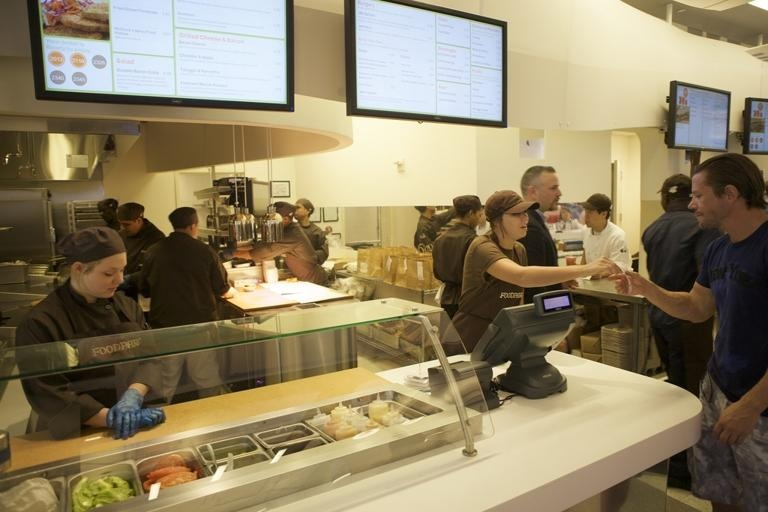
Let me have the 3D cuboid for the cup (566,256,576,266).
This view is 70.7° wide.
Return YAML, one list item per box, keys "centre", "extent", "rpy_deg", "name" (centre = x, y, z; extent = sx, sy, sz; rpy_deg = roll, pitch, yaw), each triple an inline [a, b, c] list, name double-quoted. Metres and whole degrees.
- centre: [2.012, 0.060, 5.878]
  extent: [0.078, 0.076, 0.111]
  rpy_deg: [-2, 8, -22]
  name: "cup"

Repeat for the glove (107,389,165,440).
- centre: [-1.040, 0.656, 2.281]
  extent: [0.190, 0.195, 0.046]
  rpy_deg: [-7, 8, -20]
  name: "glove"

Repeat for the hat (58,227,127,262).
- centre: [-1.566, -0.055, 2.919]
  extent: [0.265, 0.124, 0.189]
  rpy_deg: [-10, 8, -7]
  name: "hat"

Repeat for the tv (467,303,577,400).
- centre: [0.717, 0.432, 3.041]
  extent: [0.599, 0.550, 0.511]
  rpy_deg: [-4, 5, -32]
  name: "tv"

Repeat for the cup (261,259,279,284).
- centre: [-1.246, 0.161, 5.864]
  extent: [0.155, 0.250, 0.272]
  rpy_deg: [-6, 8, -15]
  name: "cup"

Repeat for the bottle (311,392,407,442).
- centre: [-0.119, 0.702, 2.475]
  extent: [0.299, 0.133, 0.188]
  rpy_deg: [-6, 10, -31]
  name: "bottle"

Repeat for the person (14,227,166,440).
- centre: [-1.250, 0.333, 2.453]
  extent: [0.639, 0.812, 0.563]
  rpy_deg: [5, 5, 8]
  name: "person"
